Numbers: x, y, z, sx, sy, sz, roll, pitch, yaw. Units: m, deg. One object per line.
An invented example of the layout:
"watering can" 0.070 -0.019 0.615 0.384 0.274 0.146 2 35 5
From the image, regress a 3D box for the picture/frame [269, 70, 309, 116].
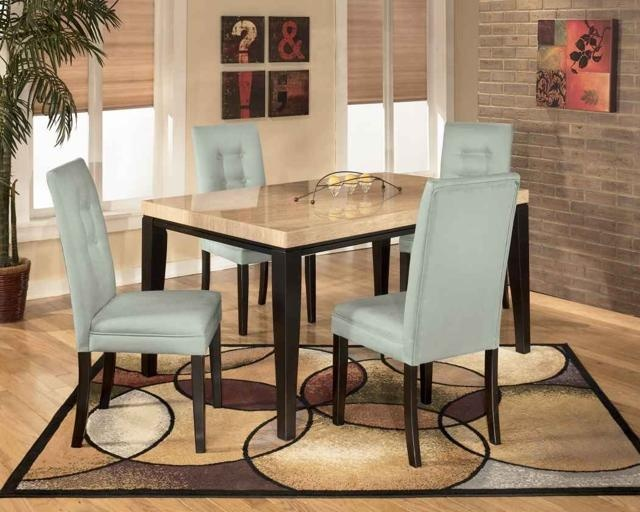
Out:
"picture/frame" -0.280 -1.441 5.120 0.516 0.383 0.063 -7 14 -32

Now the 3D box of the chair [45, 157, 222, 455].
"chair" -0.747 0.153 2.447 0.758 0.952 0.589 9 13 -14

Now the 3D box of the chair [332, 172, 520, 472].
"chair" 0.421 0.216 2.311 0.595 1.087 0.493 -10 20 -26

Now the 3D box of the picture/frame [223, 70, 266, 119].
"picture/frame" -0.638 -1.359 4.935 0.430 0.393 0.096 -14 22 -37
